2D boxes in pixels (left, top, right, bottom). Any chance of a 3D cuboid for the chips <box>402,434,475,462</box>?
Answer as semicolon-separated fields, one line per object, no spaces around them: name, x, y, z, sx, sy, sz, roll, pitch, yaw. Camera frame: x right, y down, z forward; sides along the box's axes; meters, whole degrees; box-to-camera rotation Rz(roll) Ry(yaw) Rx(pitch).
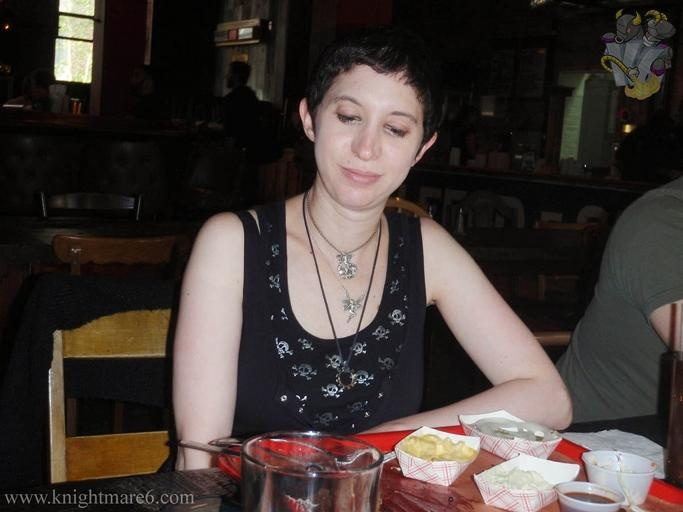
chips;0.187;0.344;1.170;0.086;0.045;0.091;0;6;-30

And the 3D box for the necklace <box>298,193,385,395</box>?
necklace;0.024;0.098;1.687;0.219;0.519;0.219;-3;13;-23

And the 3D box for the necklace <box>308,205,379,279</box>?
necklace;-0.002;-0.038;1.670;0.193;0.251;0.021;1;-5;-23
